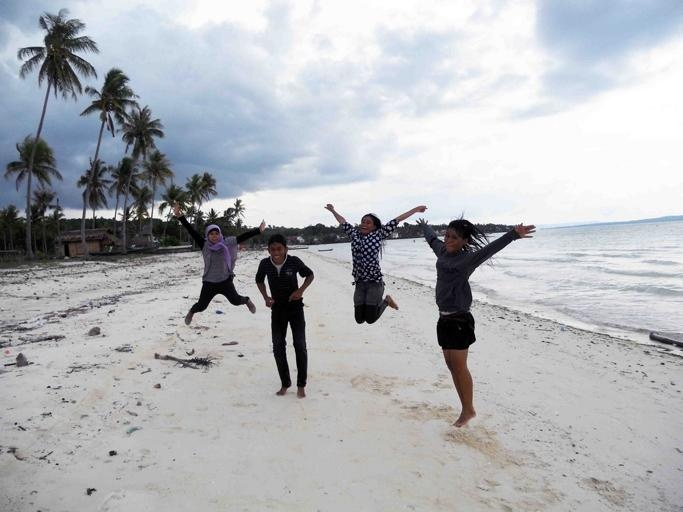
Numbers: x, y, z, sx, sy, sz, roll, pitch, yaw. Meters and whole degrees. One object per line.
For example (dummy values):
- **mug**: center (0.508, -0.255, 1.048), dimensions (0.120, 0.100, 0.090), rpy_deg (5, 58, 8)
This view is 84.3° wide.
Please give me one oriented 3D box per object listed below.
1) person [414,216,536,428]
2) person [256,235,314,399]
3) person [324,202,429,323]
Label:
- **person**: center (1.497, 0.844, 4.924), dimensions (0.760, 2.601, 0.992), rpy_deg (0, 10, -24)
- **person**: center (-0.827, 0.809, 5.448), dimensions (0.823, 2.288, 0.948), rpy_deg (3, 9, -10)
- **person**: center (0.435, 0.241, 6.367), dimensions (0.984, 1.982, 0.762), rpy_deg (10, 11, 31)
